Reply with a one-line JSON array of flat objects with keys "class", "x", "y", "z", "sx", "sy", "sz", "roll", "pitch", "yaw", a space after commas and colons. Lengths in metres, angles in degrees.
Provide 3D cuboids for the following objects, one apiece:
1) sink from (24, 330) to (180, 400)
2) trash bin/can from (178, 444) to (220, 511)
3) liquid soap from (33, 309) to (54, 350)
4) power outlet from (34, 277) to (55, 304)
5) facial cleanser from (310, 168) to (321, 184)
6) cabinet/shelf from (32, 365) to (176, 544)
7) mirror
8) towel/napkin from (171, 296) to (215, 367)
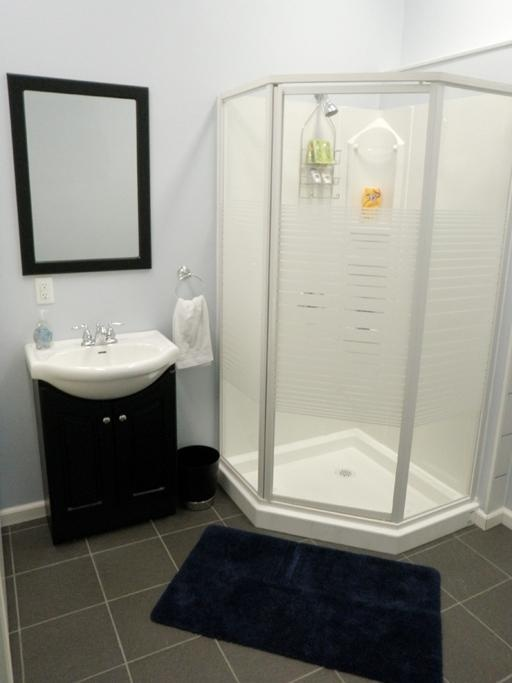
[{"class": "sink", "x": -0.616, "y": 0.116, "z": 2.094, "sx": 0.583, "sy": 0.196, "sz": 0.479, "roll": -6, "pitch": 14, "yaw": -31}, {"class": "trash bin/can", "x": -0.274, "y": 0.651, "z": 2.503, "sx": 0.173, "sy": 0.273, "sz": 0.225, "roll": 4, "pitch": -15, "yaw": -6}, {"class": "liquid soap", "x": -0.870, "y": -0.050, "z": 2.099, "sx": 0.059, "sy": 0.203, "sz": 0.078, "roll": 0, "pitch": 19, "yaw": -19}, {"class": "power outlet", "x": -0.867, "y": -0.213, "z": 2.105, "sx": 0.069, "sy": 0.134, "sz": 0.011, "roll": -10, "pitch": 19, "yaw": -40}, {"class": "facial cleanser", "x": 0.216, "y": -0.595, "z": 1.856, "sx": 0.026, "sy": 0.065, "sz": 0.014, "roll": -9, "pitch": 8, "yaw": 21}, {"class": "cabinet/shelf", "x": -0.620, "y": 0.350, "z": 2.233, "sx": 0.538, "sy": 0.943, "sz": 0.444, "roll": -6, "pitch": 37, "yaw": -23}, {"class": "mirror", "x": -0.715, "y": -0.688, "z": 2.033, "sx": 0.537, "sy": 0.985, "sz": 0.037, "roll": -10, "pitch": 18, "yaw": -38}, {"class": "towel/napkin", "x": -0.285, "y": -0.058, "z": 2.383, "sx": 0.163, "sy": 0.362, "sz": 0.038, "roll": -7, "pitch": 39, "yaw": -10}]
